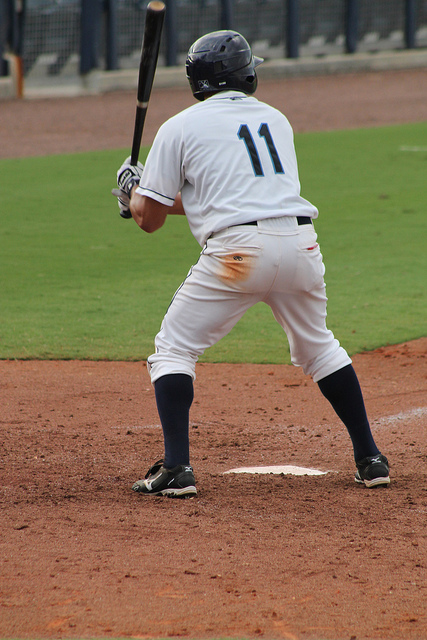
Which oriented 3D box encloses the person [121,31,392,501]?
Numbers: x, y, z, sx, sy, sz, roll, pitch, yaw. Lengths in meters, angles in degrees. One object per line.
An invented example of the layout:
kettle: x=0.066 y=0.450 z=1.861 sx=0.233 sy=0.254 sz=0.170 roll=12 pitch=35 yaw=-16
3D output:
person: x=0.143 y=-0.204 z=3.348 sx=0.893 sy=1.693 sz=0.427 roll=0 pitch=10 yaw=-7
